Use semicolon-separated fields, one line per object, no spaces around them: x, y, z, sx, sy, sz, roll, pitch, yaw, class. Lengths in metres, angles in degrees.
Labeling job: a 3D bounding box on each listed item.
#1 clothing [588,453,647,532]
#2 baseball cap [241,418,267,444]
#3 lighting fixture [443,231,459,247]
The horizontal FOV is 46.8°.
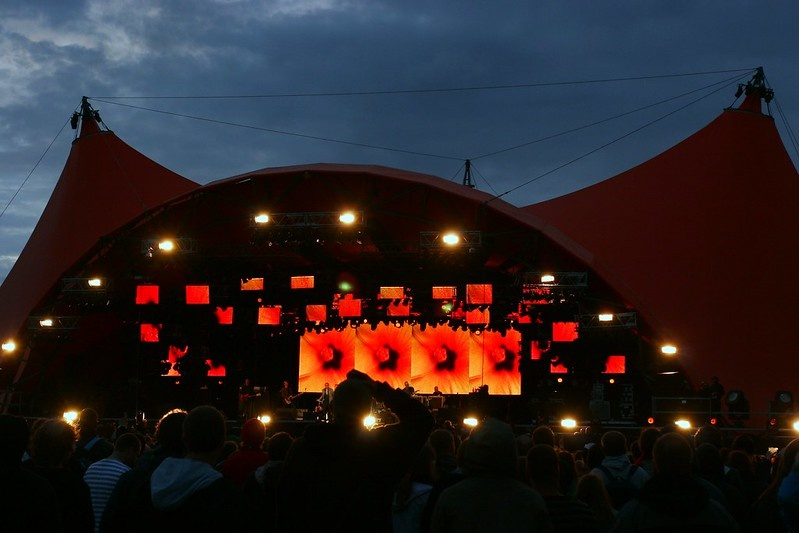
4.148;4.191;17.018;0.963;1.189;1.287;-2;20;2;clothing
-2.683;3.022;17.095;0.388;0.408;0.490;4;1;-7;baseball cap
1.718;-0.929;31.138;0.559;0.366;0.564;-4;-17;23;lighting fixture
